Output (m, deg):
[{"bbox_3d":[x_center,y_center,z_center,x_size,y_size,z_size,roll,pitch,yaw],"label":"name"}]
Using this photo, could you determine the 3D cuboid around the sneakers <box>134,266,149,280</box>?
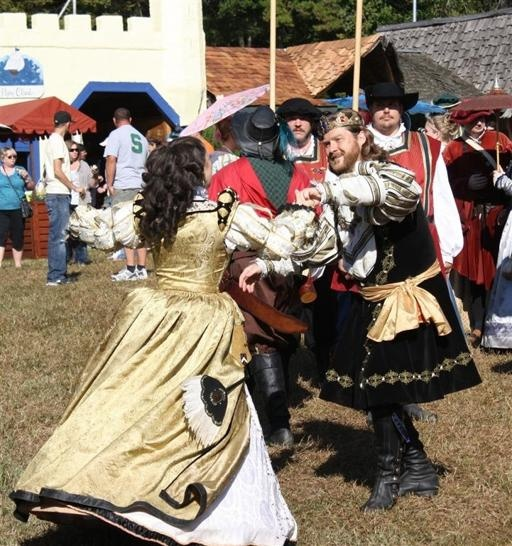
[{"bbox_3d":[-1.276,0.004,8.505,0.122,0.135,0.151,1,-11,-6],"label":"sneakers"}]

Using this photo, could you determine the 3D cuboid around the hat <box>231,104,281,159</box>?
[{"bbox_3d":[-0.008,-0.835,4.341,0.357,0.345,0.147,-1,-30,-10],"label":"hat"}]

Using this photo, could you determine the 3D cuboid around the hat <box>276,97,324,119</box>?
[{"bbox_3d":[0.274,-1.048,4.901,0.290,0.088,0.261,1,2,10],"label":"hat"}]

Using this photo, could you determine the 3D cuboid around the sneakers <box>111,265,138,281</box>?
[{"bbox_3d":[-1.443,0.007,8.392,0.375,0.178,0.120,1,3,-3],"label":"sneakers"}]

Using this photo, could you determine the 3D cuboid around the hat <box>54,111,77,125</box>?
[{"bbox_3d":[-2.078,-1.677,8.148,0.154,0.112,0.214,11,27,21],"label":"hat"}]
